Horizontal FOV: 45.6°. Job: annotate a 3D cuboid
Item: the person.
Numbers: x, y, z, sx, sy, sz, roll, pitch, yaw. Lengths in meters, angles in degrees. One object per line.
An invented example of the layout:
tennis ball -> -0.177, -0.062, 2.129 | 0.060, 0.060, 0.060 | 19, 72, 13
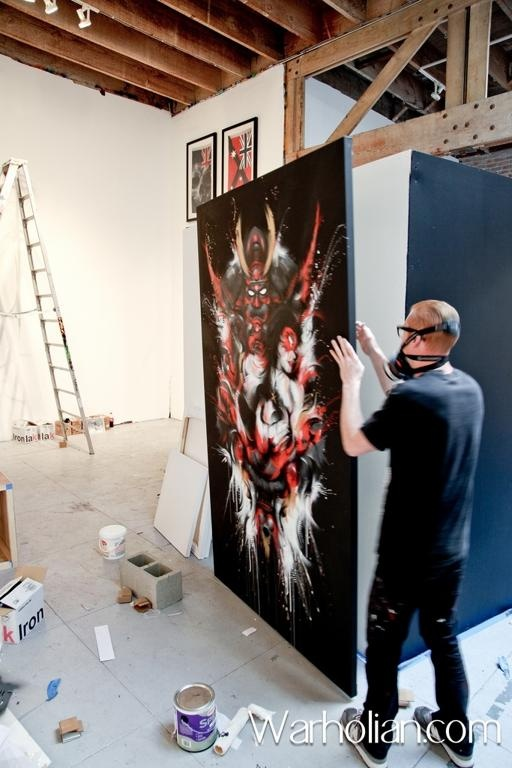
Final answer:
person -> 0.437, 0.502, 1.788 | 0.430, 1.232, 0.259 | 2, 9, 11

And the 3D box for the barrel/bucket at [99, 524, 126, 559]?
barrel/bucket -> -0.720, 0.808, 3.139 | 0.145, 0.136, 0.144 | 0, 5, 0

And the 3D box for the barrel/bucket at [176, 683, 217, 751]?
barrel/bucket -> -0.174, 1.020, 1.861 | 0.123, 0.140, 0.125 | -4, 10, 1
